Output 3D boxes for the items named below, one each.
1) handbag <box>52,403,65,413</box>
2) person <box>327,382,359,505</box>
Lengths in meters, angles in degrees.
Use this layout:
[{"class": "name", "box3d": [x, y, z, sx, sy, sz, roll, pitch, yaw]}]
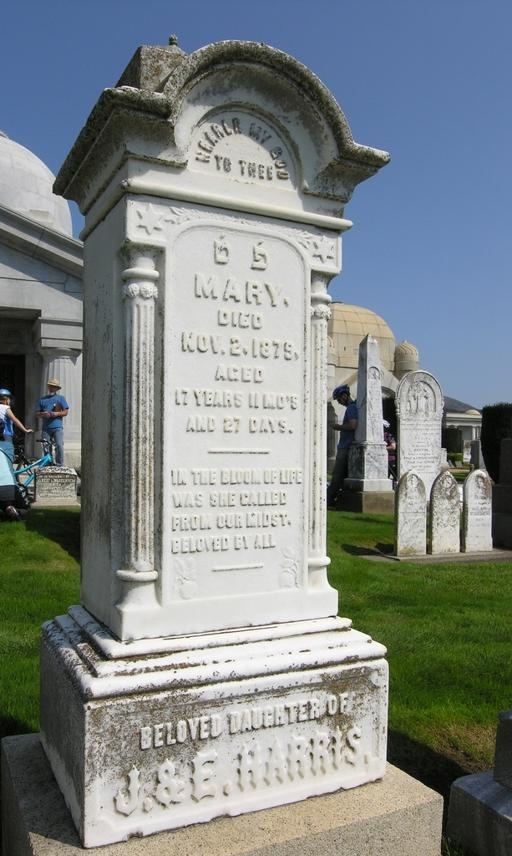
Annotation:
[{"class": "handbag", "box3d": [-2.741, -0.286, 12.757, 0.170, 0.164, 0.331, 1, -1, -14]}, {"class": "person", "box3d": [1.250, 0.204, 12.993, 0.386, 1.710, 1.538, 1, -2, 6]}]
